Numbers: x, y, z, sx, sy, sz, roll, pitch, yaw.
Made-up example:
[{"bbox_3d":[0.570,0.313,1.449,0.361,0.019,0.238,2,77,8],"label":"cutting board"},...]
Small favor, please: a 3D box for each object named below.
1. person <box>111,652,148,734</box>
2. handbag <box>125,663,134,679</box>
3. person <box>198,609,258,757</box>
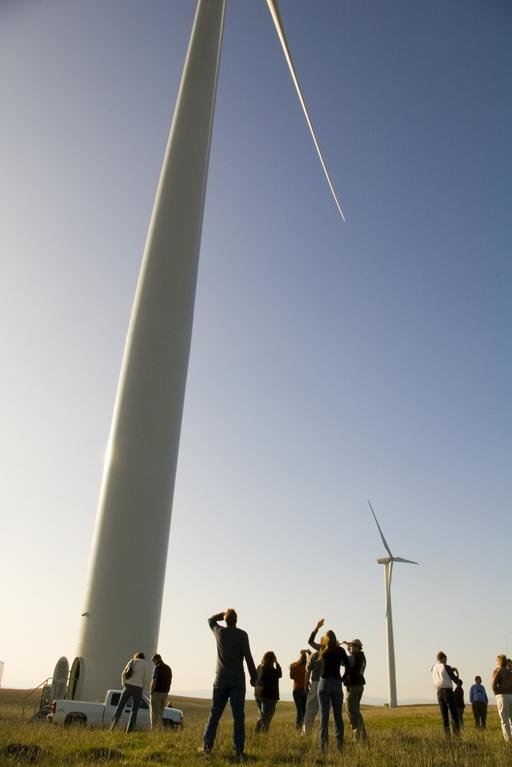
[{"bbox_3d":[-2.555,6.313,11.039,0.633,1.437,1.194,6,-26,-13],"label":"person"},{"bbox_3d":[-2.517,5.713,10.707,0.169,0.251,0.107,3,-24,-5],"label":"handbag"},{"bbox_3d":[-0.320,3.763,6.791,0.617,1.643,1.127,2,-25,-3],"label":"person"}]
